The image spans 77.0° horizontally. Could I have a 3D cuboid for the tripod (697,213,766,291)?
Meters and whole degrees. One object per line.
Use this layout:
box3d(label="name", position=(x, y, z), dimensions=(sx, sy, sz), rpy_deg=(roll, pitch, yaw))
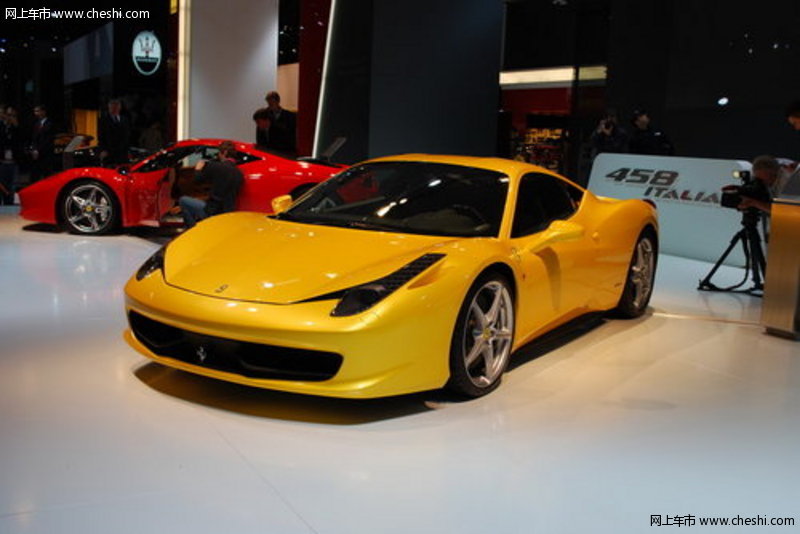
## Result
box3d(label="tripod", position=(4.054, -0.171, 6.101), dimensions=(0.744, 0.942, 0.505), rpy_deg=(5, 14, 10))

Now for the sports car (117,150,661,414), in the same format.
box3d(label="sports car", position=(0.321, 0.039, 3.592), dimensions=(1.852, 0.928, 3.129), rpy_deg=(7, 10, 38))

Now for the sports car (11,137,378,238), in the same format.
box3d(label="sports car", position=(-3.580, -1.168, 7.727), dimensions=(3.565, 1.043, 2.169), rpy_deg=(2, 7, -6))

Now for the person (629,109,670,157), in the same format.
box3d(label="person", position=(4.480, -2.409, 9.035), dimensions=(0.617, 0.754, 0.798), rpy_deg=(12, 16, 33))
